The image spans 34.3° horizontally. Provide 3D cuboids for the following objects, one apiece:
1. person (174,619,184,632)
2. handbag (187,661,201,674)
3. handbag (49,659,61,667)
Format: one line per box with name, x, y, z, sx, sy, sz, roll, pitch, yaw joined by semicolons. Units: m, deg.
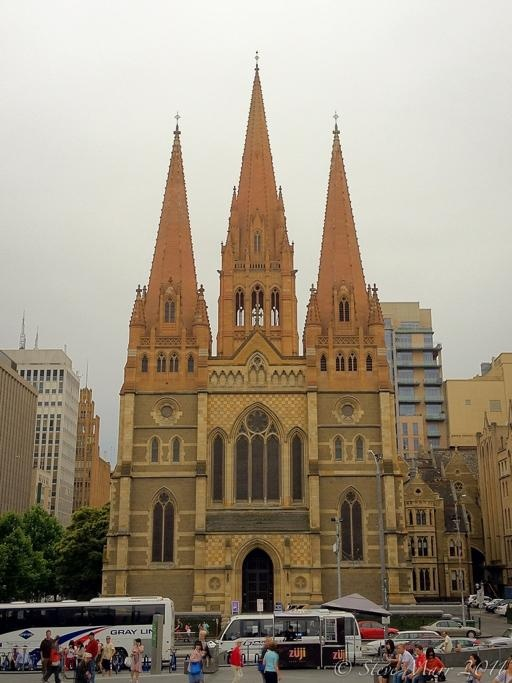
person;-4.199;15.505;45.299;0.388;0.723;0.706;-10;-25;7
handbag;-1.379;7.400;18.789;0.285;0.345;0.815;1;-21;-3
handbag;-5.332;8.558;22.055;0.186;0.165;0.430;8;-22;-20
